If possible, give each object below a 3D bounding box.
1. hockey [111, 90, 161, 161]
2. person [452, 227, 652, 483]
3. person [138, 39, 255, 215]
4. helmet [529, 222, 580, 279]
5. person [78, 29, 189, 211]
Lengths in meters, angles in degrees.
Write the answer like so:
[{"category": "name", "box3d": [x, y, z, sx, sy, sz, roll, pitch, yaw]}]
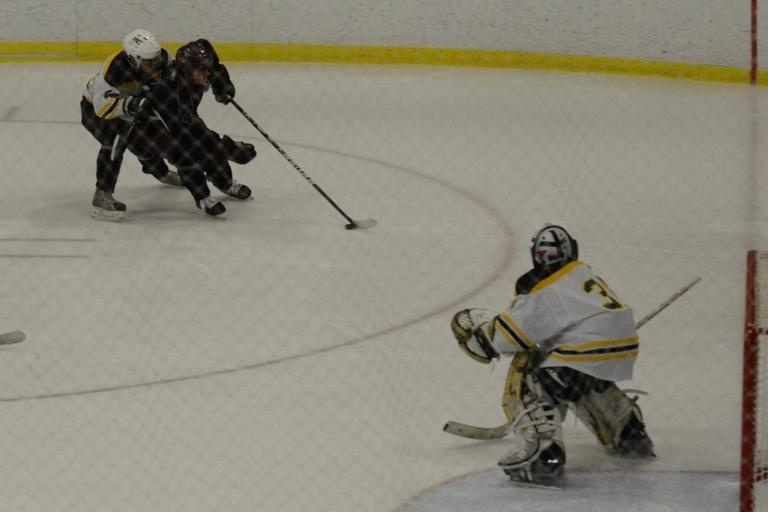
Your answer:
[{"category": "hockey", "box3d": [-1.905, -0.966, 10.125, 0.246, 0.553, 0.220, 1, 21, -22]}, {"category": "person", "box3d": [1.079, 0.644, 9.051, 1.668, 1.517, 1.193, -3, 4, -26]}, {"category": "person", "box3d": [-1.510, -0.993, 10.417, 1.098, 1.177, 0.487, 6, 18, 18]}, {"category": "helmet", "box3d": [1.080, -0.024, 8.886, 0.382, 0.337, 0.297, -5, -4, -6]}, {"category": "person", "box3d": [-1.975, -1.087, 10.354, 0.819, 1.394, 0.866, 14, 29, 14]}]
